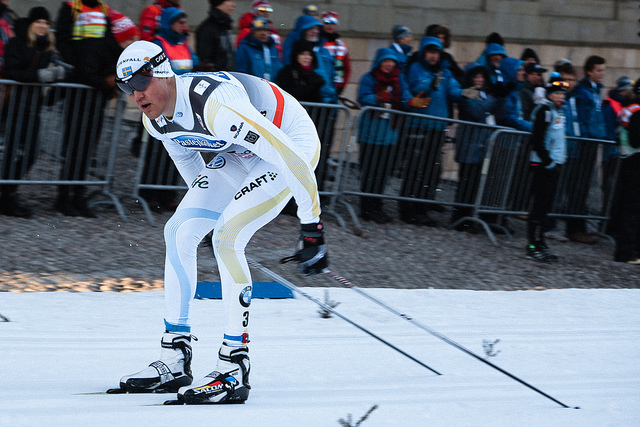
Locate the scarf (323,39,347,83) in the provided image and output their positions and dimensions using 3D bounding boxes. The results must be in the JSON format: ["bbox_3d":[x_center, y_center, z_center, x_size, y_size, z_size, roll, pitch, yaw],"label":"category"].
[{"bbox_3d":[0.170,-1.899,10.900,0.264,0.539,0.361,7,6,8],"label":"scarf"}]

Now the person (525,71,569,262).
[{"bbox_3d":[2.623,-0.535,10.181,0.390,2.215,0.483,12,7,38],"label":"person"}]

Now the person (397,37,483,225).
[{"bbox_3d":[1.398,-0.991,10.699,0.874,2.272,0.477,6,6,-11],"label":"person"}]

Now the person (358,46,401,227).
[{"bbox_3d":[0.701,-0.936,10.548,0.602,2.180,0.554,8,6,3],"label":"person"}]

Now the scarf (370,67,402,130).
[{"bbox_3d":[0.801,-1.498,10.537,0.408,0.483,0.106,3,7,-23],"label":"scarf"}]
